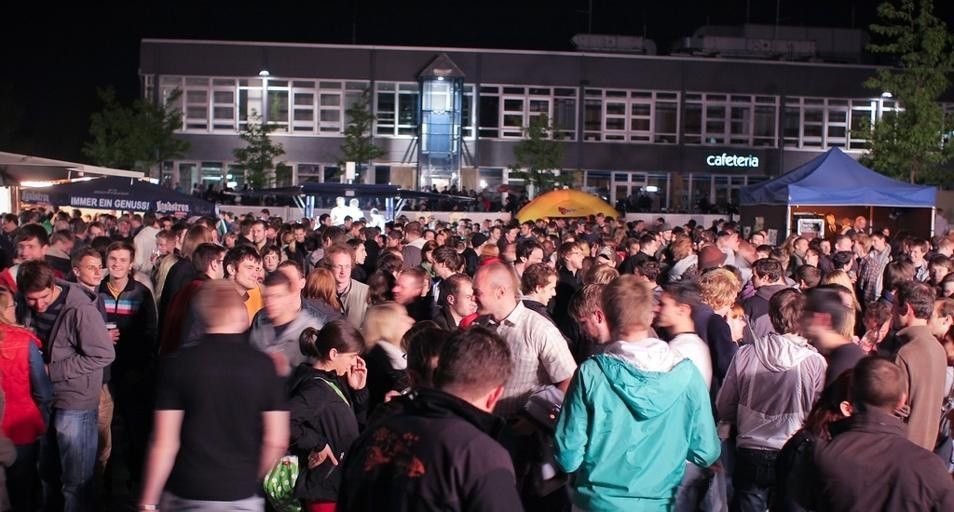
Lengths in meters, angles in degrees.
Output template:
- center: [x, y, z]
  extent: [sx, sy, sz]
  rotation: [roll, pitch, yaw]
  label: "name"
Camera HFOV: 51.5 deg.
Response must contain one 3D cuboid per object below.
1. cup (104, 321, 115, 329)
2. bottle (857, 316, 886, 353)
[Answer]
- center: [-6.452, 1.207, 17.400]
  extent: [0.164, 0.105, 0.265]
  rotation: [3, -1, -16]
  label: "cup"
- center: [6.878, 1.359, 17.219]
  extent: [0.270, 0.327, 0.768]
  rotation: [-4, 35, 51]
  label: "bottle"
